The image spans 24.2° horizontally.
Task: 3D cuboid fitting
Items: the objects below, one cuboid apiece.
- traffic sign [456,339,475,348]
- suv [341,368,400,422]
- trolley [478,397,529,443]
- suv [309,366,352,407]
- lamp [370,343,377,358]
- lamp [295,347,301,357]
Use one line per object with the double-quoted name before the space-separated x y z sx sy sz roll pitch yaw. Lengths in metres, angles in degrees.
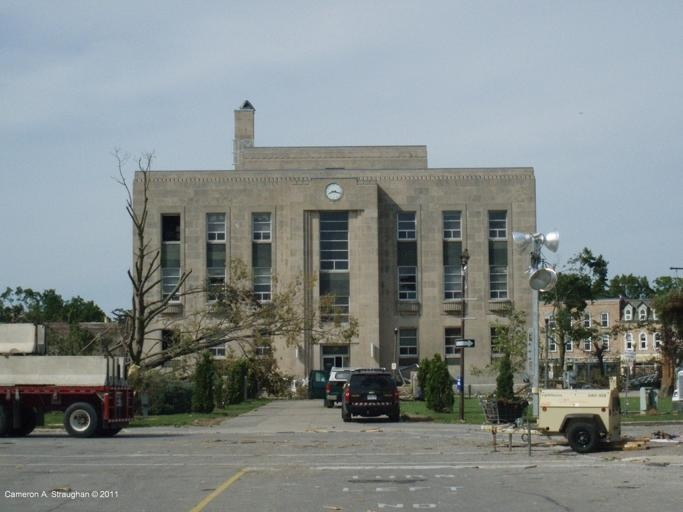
"traffic sign" 5.849 4.035 74.084 0.891 0.375 1.638 -3 -7 12
"suv" 1.472 6.408 74.245 2.064 2.483 2.789 1 -9 -3
"trolley" 7.387 6.909 70.129 1.666 1.367 1.220 2 -7 -4
"suv" -0.292 6.990 85.694 1.401 1.495 3.790 0 -1 -3
"lamp" 2.211 6.110 103.002 0.405 0.963 0.337 -1 -6 -1
"lamp" -2.655 6.213 102.567 0.137 0.691 0.402 -7 -8 42
